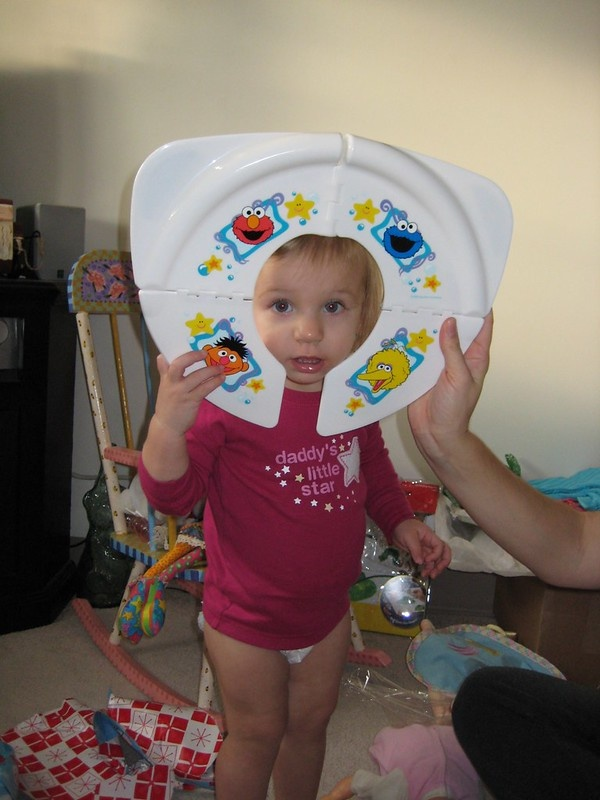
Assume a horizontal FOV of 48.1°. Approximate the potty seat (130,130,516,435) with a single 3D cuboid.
[{"bbox_3d":[0.019,-0.092,0.680,0.370,0.264,0.084,-1,7,-11],"label":"potty seat"}]
